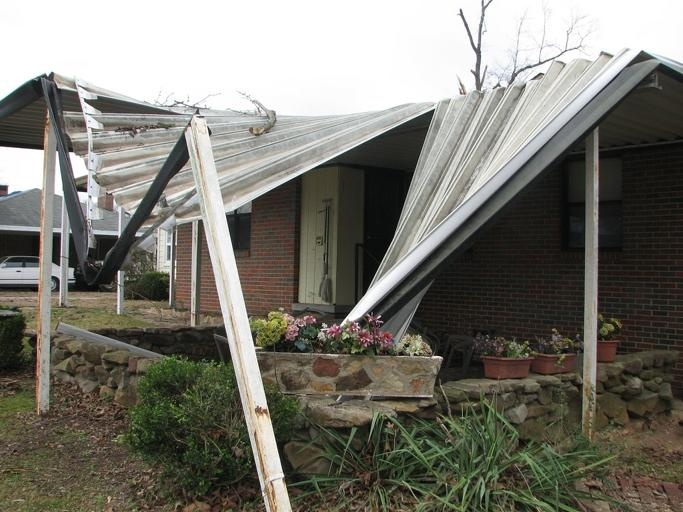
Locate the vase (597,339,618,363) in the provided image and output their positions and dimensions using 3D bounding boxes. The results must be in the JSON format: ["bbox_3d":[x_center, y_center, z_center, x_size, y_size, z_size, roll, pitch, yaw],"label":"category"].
[{"bbox_3d":[3.550,1.280,6.917,0.393,0.275,0.130,4,0,-34],"label":"vase"}]

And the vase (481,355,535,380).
[{"bbox_3d":[1.875,1.276,5.867,0.416,0.159,0.286,1,-2,-26],"label":"vase"}]

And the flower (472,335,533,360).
[{"bbox_3d":[1.857,1.067,5.961,0.650,0.238,0.403,3,-1,1],"label":"flower"}]

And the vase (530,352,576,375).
[{"bbox_3d":[2.539,1.260,6.303,0.480,0.196,0.315,0,1,-28],"label":"vase"}]

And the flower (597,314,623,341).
[{"bbox_3d":[3.612,0.978,7.024,0.222,0.336,0.501,3,-1,35],"label":"flower"}]

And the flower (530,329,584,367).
[{"bbox_3d":[2.656,1.127,6.430,0.543,0.265,0.535,0,1,-37],"label":"flower"}]
